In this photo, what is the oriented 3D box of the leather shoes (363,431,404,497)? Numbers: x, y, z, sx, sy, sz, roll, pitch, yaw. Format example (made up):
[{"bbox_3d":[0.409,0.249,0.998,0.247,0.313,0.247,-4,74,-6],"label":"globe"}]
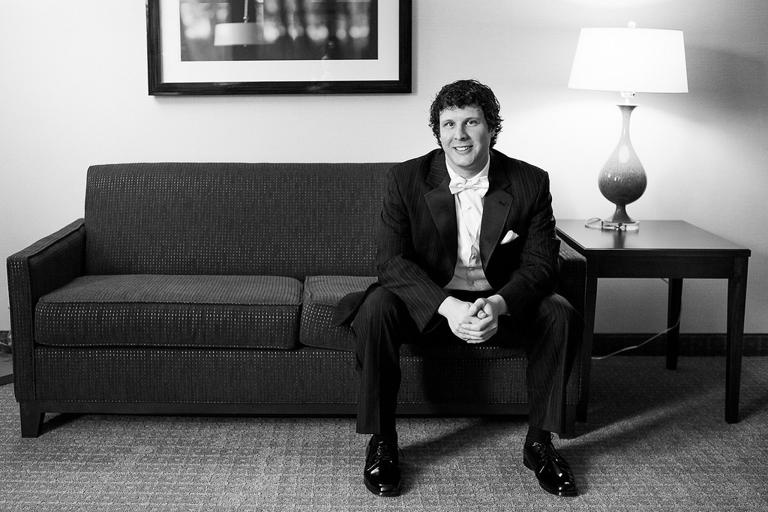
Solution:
[{"bbox_3d":[-0.001,0.801,2.450,0.097,0.102,0.259,2,6,-3],"label":"leather shoes"}]

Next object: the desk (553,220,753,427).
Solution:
[{"bbox_3d":[1.300,0.459,3.371,0.845,0.939,1.266,-1,9,0],"label":"desk"}]

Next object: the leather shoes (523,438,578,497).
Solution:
[{"bbox_3d":[0.635,0.816,2.510,0.096,0.174,0.268,-3,4,-23],"label":"leather shoes"}]

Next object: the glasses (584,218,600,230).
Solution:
[{"bbox_3d":[1.053,-0.162,3.280,0.067,0.030,0.073,4,21,28],"label":"glasses"}]

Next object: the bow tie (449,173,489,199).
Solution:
[{"bbox_3d":[0.339,-0.282,2.572,0.181,0.083,0.088,-4,6,2],"label":"bow tie"}]
